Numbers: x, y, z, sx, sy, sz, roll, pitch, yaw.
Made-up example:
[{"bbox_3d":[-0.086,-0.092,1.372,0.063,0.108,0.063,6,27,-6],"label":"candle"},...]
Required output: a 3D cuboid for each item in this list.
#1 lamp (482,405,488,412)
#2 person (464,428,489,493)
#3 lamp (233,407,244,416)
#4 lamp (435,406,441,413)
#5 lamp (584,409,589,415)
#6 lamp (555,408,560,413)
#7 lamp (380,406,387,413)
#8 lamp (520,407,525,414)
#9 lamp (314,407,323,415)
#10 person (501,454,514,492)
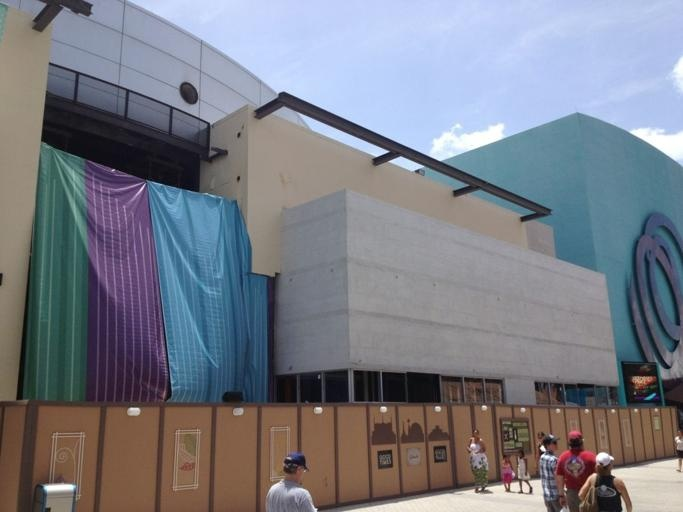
[{"bbox_3d":[5.754,6.119,21.928,0.360,0.205,0.093,15,-27,-42],"label":"lamp"},{"bbox_3d":[5.021,7.522,20.012,0.607,2.108,1.168,-8,-20,10],"label":"person"},{"bbox_3d":[-3.033,4.557,15.935,0.040,0.175,0.239,-11,-17,42],"label":"lamp"},{"bbox_3d":[3.644,5.788,20.609,0.086,0.263,0.421,-21,-26,39],"label":"lamp"},{"bbox_3d":[11.915,7.593,26.534,0.258,0.270,0.154,3,-10,4],"label":"lamp"},{"bbox_3d":[9.933,7.137,25.076,0.246,0.264,0.149,0,-57,10],"label":"lamp"},{"bbox_3d":[1.466,5.371,19.061,0.241,0.210,0.360,-4,-6,24],"label":"lamp"},{"bbox_3d":[7.788,6.669,23.463,0.220,0.222,0.130,7,-17,-12],"label":"lamp"},{"bbox_3d":[-0.755,5.003,17.610,0.341,0.327,0.188,9,-9,-42],"label":"lamp"},{"bbox_3d":[6.120,8.032,20.144,0.372,1.232,1.313,-9,-21,13],"label":"person"}]
